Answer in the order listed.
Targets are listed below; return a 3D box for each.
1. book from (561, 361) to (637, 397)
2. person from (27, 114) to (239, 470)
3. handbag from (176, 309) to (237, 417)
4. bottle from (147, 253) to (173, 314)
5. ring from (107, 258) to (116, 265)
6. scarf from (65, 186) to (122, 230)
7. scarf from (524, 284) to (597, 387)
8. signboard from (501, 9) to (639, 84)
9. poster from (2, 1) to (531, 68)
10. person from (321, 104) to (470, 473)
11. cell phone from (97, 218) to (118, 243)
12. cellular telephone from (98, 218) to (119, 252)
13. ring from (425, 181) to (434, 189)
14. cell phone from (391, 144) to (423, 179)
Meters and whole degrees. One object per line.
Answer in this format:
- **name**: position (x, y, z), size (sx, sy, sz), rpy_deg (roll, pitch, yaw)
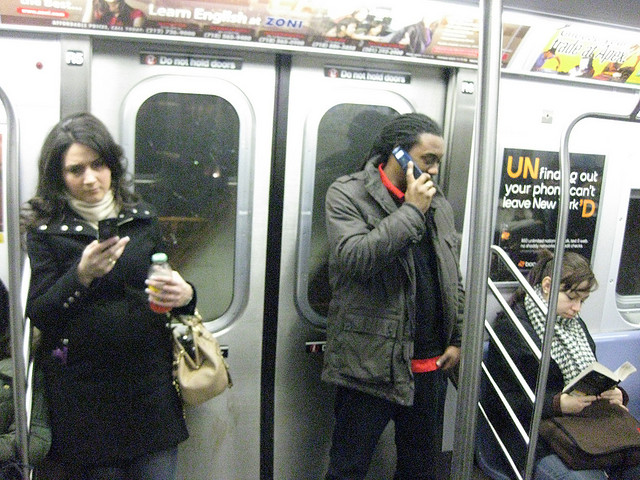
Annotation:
- **book**: position (1.194, 0.598, 2.214), size (0.191, 0.106, 0.054), rpy_deg (8, 45, -17)
- **person**: position (-0.970, 0.284, 2.459), size (0.805, 1.711, 0.492), rpy_deg (-5, 14, -29)
- **handbag**: position (-0.633, 0.679, 2.714), size (0.314, 0.557, 0.545), rpy_deg (-7, -12, -20)
- **bottle**: position (-0.779, 0.212, 2.493), size (0.113, 0.324, 0.141), rpy_deg (-2, 13, -19)
- **ring**: position (-0.973, 0.097, 2.386), size (0.026, 0.006, 0.025), rpy_deg (31, -11, 6)
- **scarf**: position (-1.074, -0.146, 2.448), size (0.168, 0.209, 0.217), rpy_deg (-11, -1, -5)
- **scarf**: position (0.983, 0.362, 2.237), size (0.296, 0.529, 0.140), rpy_deg (-17, -4, -35)
- **signboard**: position (1.019, -0.784, 2.100), size (0.772, 0.235, 0.136), rpy_deg (-3, 13, -21)
- **poster**: position (-0.245, -1.117, 2.598), size (2.395, 0.255, 0.172), rpy_deg (-1, 12, -15)
- **person**: position (0.381, 0.346, 2.710), size (0.863, 1.991, 0.536), rpy_deg (-8, 16, -40)
- **cell phone**: position (-0.948, -0.041, 2.289), size (0.103, 0.178, 0.018), rpy_deg (-13, 50, -39)
- **cellular telephone**: position (-0.949, -0.023, 2.300), size (0.087, 0.165, 0.015), rpy_deg (-9, 27, -36)
- **ring**: position (0.532, -0.268, 2.494), size (0.057, 0.032, 0.017), rpy_deg (-7, 15, -35)
- **cell phone**: position (0.424, -0.418, 2.596), size (0.069, 0.263, 0.062), rpy_deg (-38, -8, 16)
